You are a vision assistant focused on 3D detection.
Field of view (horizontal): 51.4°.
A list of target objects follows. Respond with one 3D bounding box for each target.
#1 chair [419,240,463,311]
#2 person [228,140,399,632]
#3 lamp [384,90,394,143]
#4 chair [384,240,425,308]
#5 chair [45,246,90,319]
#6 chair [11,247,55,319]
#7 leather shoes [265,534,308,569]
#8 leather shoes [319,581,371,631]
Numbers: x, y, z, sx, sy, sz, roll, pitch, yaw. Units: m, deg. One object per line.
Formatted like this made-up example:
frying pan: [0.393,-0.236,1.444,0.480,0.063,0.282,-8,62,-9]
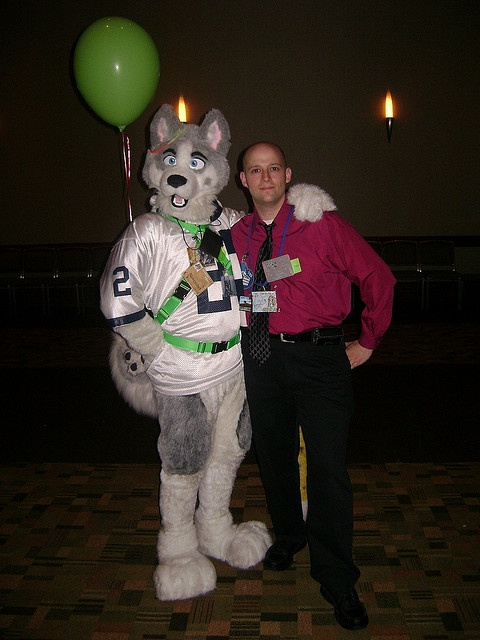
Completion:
chair: [2.580,-0.609,6.497,0.547,0.848,0.909,3,13,20]
person: [0.240,0.150,1.605,0.334,1.414,0.640,-10,14,-36]
lamp: [1.965,-2.681,6.584,0.125,0.618,0.099,-2,12,-4]
chair: [2.187,-0.578,6.701,0.580,0.877,0.680,1,1,40]
chair: [-2.230,-0.519,6.508,0.616,0.842,0.916,-7,13,-27]
chair: [-2.750,-0.603,6.799,0.409,0.825,0.459,-2,8,-27]
leather shoes: [0.149,0.797,1.715,0.058,0.062,0.158,0,-8,31]
leather shoes: [0.311,0.838,1.485,0.064,0.064,0.149,2,11,-23]
